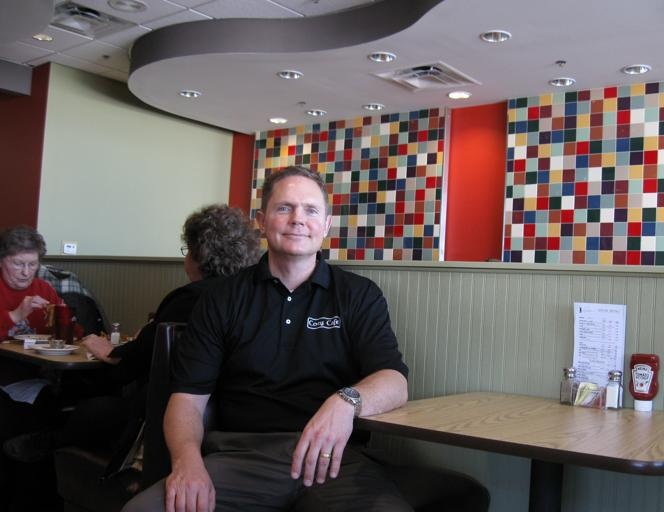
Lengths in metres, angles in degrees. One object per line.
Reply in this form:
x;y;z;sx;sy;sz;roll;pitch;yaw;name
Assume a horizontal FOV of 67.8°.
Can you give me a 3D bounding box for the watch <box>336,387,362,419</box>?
0.046;0.335;1.135;0.042;0.058;0.059;-4;8;-41;watch
